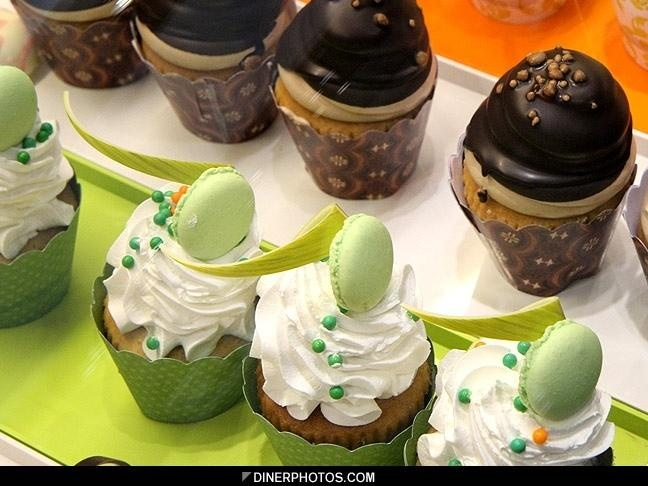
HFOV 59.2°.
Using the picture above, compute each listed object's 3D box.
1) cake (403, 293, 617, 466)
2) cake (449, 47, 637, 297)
[{"bbox_3d":[0.456,0.385,1.394,0.443,0.505,0.361,-7,66,-6],"label":"cake"},{"bbox_3d":[0.742,-0.192,1.877,0.505,0.619,0.565,-14,47,-3],"label":"cake"}]
